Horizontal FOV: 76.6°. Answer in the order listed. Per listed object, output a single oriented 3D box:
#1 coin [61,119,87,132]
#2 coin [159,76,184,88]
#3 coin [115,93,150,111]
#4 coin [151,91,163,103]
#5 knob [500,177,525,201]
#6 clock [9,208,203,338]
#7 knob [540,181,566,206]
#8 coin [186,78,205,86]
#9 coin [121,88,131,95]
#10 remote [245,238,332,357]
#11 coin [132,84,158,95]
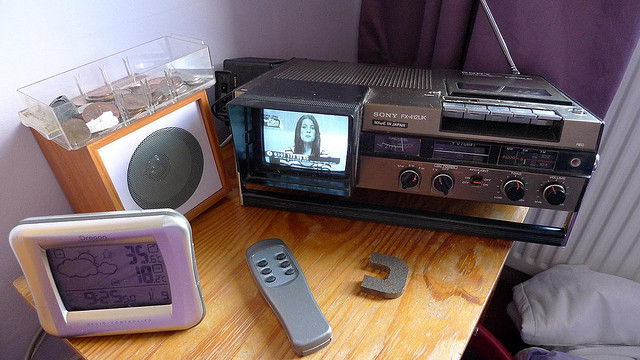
[{"bbox_3d":[-0.716,-0.163,1.174,0.058,0.023,0.020,-18,35,-30],"label":"coin"},{"bbox_3d":[-0.478,-0.320,1.307,0.047,0.010,0.043,12,55,-18],"label":"coin"},{"bbox_3d":[-0.576,-0.242,1.247,0.070,0.015,0.065,2,33,-2],"label":"coin"},{"bbox_3d":[-0.511,-0.265,1.277,0.034,0.026,0.027,-13,32,-22],"label":"coin"},{"bbox_3d":[0.617,0.027,1.297,0.073,0.068,0.034,5,31,8],"label":"knob"},{"bbox_3d":[-0.577,0.258,1.122,0.472,0.346,0.065,-5,20,-3],"label":"clock"},{"bbox_3d":[0.736,0.040,1.276,0.077,0.069,0.047,-2,4,15],"label":"knob"},{"bbox_3d":[-0.410,-0.328,1.349,0.036,0.008,0.033,1,30,13],"label":"coin"},{"bbox_3d":[-0.610,-0.280,1.275,0.038,0.019,0.019,2,-5,3],"label":"coin"},{"bbox_3d":[-0.100,0.336,1.250,0.155,0.090,0.378,-24,58,-13],"label":"remote"},{"bbox_3d":[-0.546,-0.288,1.276,0.048,0.011,0.045,-9,40,8],"label":"coin"}]
